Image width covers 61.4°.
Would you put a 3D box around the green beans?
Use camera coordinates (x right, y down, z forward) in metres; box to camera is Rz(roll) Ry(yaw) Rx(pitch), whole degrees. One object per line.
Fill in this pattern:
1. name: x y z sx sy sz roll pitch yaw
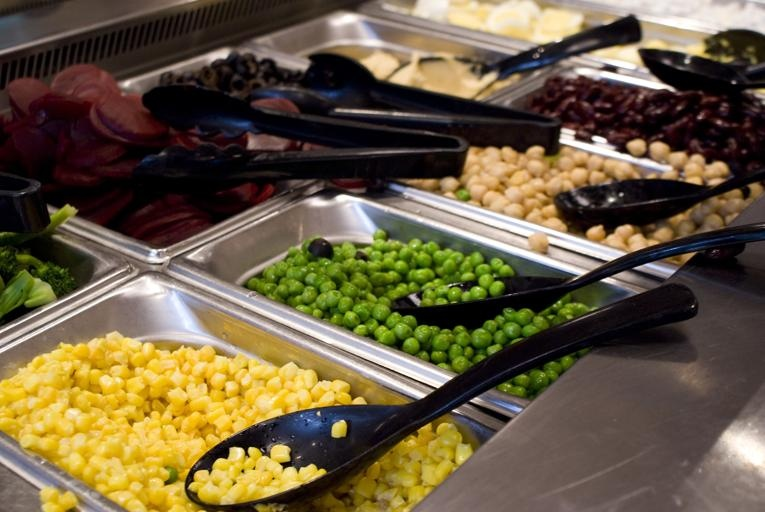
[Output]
1. green beans: 0.079 0.007 1.812 0.841 0.125 0.563 13 31 28
